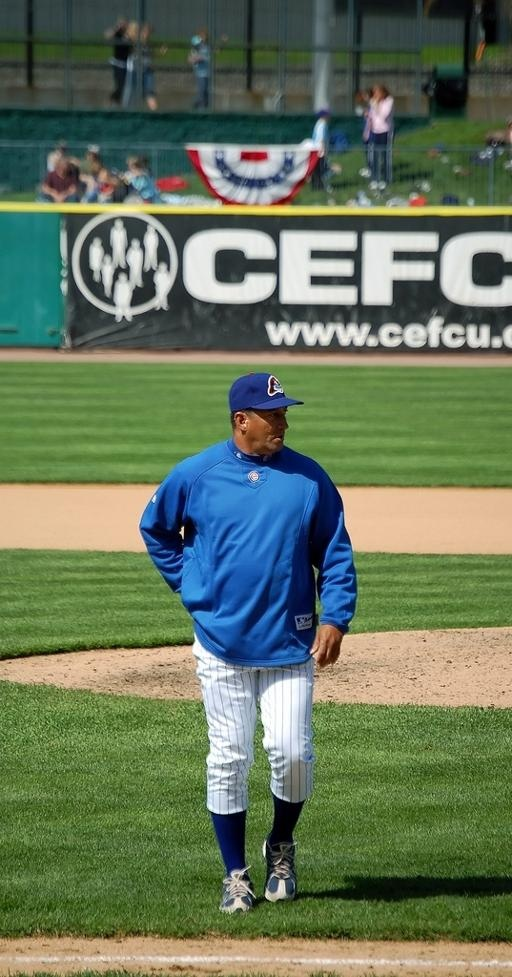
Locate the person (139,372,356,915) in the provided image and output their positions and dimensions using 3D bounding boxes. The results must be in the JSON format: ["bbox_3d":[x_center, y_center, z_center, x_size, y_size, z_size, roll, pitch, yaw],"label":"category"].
[{"bbox_3d":[0.010,0.839,13.447,1.083,2.863,0.597,-1,9,-4],"label":"person"}]

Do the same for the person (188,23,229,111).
[{"bbox_3d":[-0.680,-5.556,32.150,0.208,1.074,0.282,-3,6,3],"label":"person"}]

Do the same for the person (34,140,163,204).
[{"bbox_3d":[-1.676,-3.311,25.737,1.272,0.549,0.776,-2,13,-7],"label":"person"}]

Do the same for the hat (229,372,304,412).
[{"bbox_3d":[0.028,-0.526,13.448,0.254,0.221,0.211,-2,8,17],"label":"hat"}]

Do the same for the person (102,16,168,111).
[{"bbox_3d":[-1.611,-5.577,31.678,0.619,1.866,0.965,-10,20,-27],"label":"person"}]

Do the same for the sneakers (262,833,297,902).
[{"bbox_3d":[0.158,2.118,13.571,0.131,0.270,0.529,2,12,2],"label":"sneakers"}]
